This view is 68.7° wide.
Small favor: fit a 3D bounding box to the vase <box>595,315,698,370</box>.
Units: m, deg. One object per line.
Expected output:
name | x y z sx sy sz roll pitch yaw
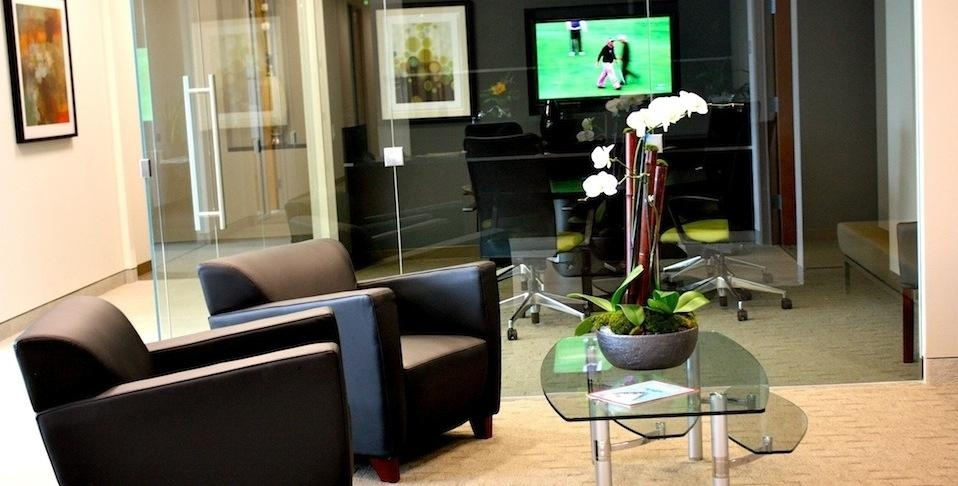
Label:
vase | 1.013 0.577 4.169 0.393 0.128 0.350 -1 0 -20
